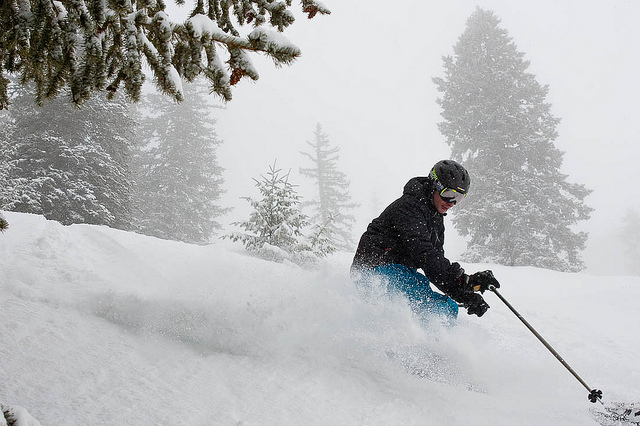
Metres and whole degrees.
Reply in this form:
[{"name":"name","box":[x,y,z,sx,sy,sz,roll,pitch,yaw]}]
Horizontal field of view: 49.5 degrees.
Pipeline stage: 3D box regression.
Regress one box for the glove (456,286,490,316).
[{"name":"glove","box":[3.587,2.122,16.401,0.715,0.484,0.310,41,15,17]}]

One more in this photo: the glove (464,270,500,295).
[{"name":"glove","box":[3.805,1.634,16.401,0.602,0.618,0.269,-18,-7,6]}]
